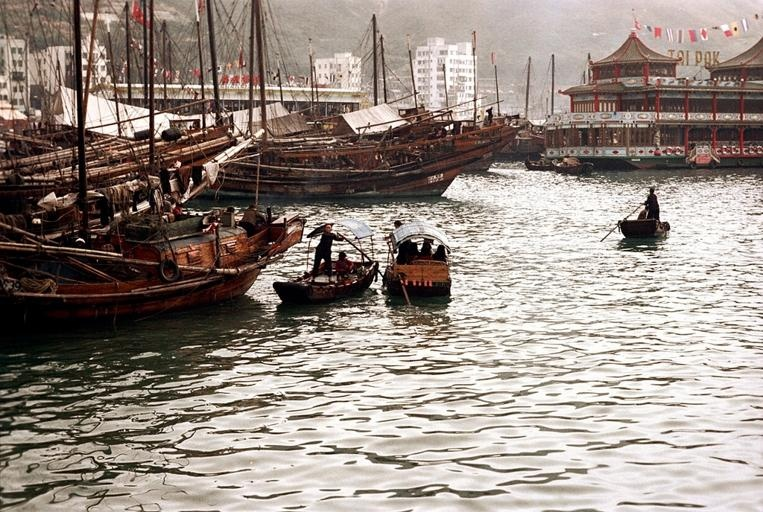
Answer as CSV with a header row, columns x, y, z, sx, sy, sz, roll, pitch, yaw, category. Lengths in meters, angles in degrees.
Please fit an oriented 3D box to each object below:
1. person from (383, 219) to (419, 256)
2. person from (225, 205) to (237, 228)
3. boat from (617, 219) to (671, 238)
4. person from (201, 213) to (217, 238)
x,y,z,sx,sy,sz,roll,pitch,yaw,category
0.861,-0.634,45.859,1.599,0.527,1.839,-3,34,4,person
-6.649,-1.667,44.029,0.429,0.834,0.990,-2,9,-3,person
14.631,-1.498,56.837,2.861,1.109,1.194,-2,9,-9,boat
-7.215,-1.255,42.181,0.637,0.767,0.790,-2,9,-6,person
